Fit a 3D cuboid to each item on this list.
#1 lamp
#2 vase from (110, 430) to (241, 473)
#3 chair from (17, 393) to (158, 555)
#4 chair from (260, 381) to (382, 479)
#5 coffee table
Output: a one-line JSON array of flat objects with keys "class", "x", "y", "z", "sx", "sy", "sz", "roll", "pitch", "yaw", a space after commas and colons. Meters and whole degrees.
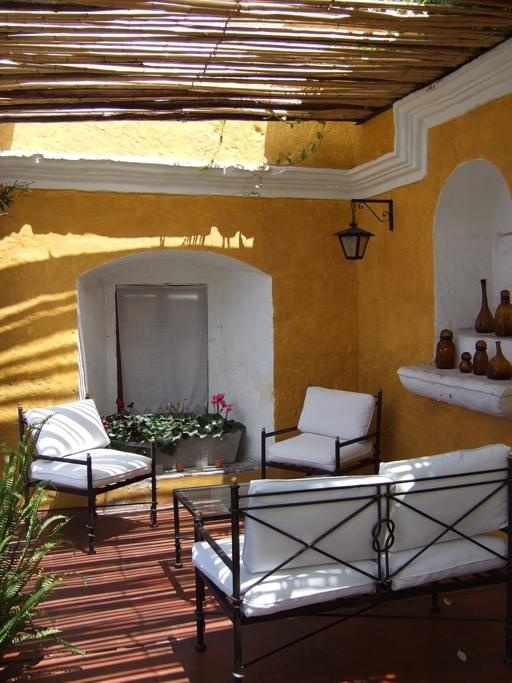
[{"class": "lamp", "x": 0.832, "y": -0.878, "z": 4.921, "sx": 0.467, "sy": 0.450, "sz": 0.327, "roll": -2, "pitch": 5, "yaw": -5}, {"class": "vase", "x": -0.535, "y": 1.032, "z": 5.938, "sx": 0.820, "sy": 0.227, "sz": 0.516, "roll": 2, "pitch": -7, "yaw": -28}, {"class": "chair", "x": -1.245, "y": 0.912, "z": 4.724, "sx": 0.705, "sy": 0.851, "sz": 0.721, "roll": 4, "pitch": 6, "yaw": 30}, {"class": "chair", "x": 0.519, "y": 0.787, "z": 5.088, "sx": 0.675, "sy": 0.705, "sz": 0.778, "roll": -13, "pitch": 11, "yaw": -42}, {"class": "coffee table", "x": -0.126, "y": 1.056, "z": 3.793, "sx": 0.895, "sy": 0.578, "sz": 0.786, "roll": 0, "pitch": -1, "yaw": -20}]
